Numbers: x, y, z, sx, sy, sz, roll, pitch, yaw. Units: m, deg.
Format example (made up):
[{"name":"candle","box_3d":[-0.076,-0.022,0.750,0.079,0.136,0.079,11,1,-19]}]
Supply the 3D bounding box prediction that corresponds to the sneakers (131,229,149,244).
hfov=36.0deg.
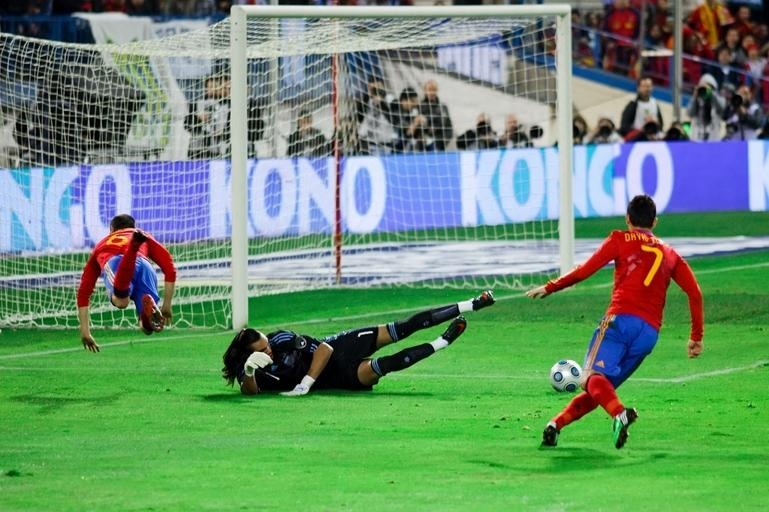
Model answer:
[{"name":"sneakers","box_3d":[-2.721,-0.211,13.316,0.159,0.187,0.400,-4,14,-12]}]

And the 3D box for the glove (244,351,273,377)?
[{"name":"glove","box_3d":[-1.341,1.158,12.488,0.342,0.295,0.146,4,16,17]}]

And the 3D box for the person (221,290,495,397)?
[{"name":"person","box_3d":[0.053,1.016,13.189,3.447,1.110,1.216,-5,51,2]}]

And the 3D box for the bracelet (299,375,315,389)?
[{"name":"bracelet","box_3d":[-0.820,1.369,12.767,0.141,0.146,0.125,-31,39,-30]}]

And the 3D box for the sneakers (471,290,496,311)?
[{"name":"sneakers","box_3d":[1.112,0.505,12.900,0.284,0.113,0.171,-18,37,-3]}]

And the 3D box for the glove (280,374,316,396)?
[{"name":"glove","box_3d":[-0.883,1.427,12.761,0.488,0.200,0.158,4,-2,-39]}]

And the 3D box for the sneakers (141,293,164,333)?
[{"name":"sneakers","box_3d":[-2.742,0.710,14.007,0.252,0.515,0.240,-9,8,9]}]

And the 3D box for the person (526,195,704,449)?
[{"name":"person","box_3d":[2.302,0.642,11.598,1.641,2.305,1.033,-15,20,-42]}]
